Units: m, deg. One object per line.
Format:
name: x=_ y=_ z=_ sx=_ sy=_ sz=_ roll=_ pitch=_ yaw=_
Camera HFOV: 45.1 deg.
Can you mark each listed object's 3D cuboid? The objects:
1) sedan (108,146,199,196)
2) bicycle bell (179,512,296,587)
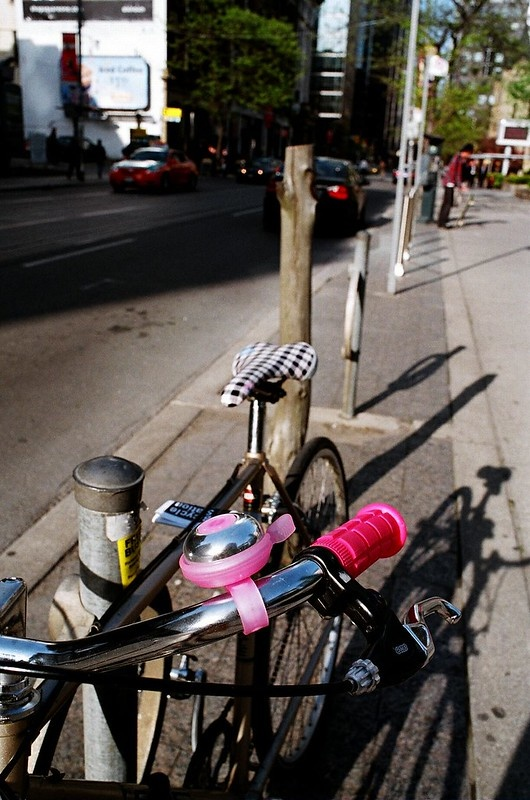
sedan: x=-3.910 y=-8.219 z=23.069 sx=1.704 sy=1.331 sz=3.718 roll=7 pitch=23 yaw=11
bicycle bell: x=-0.025 y=0.171 z=0.771 sx=0.088 sy=0.058 sz=0.126 roll=22 pitch=37 yaw=37
